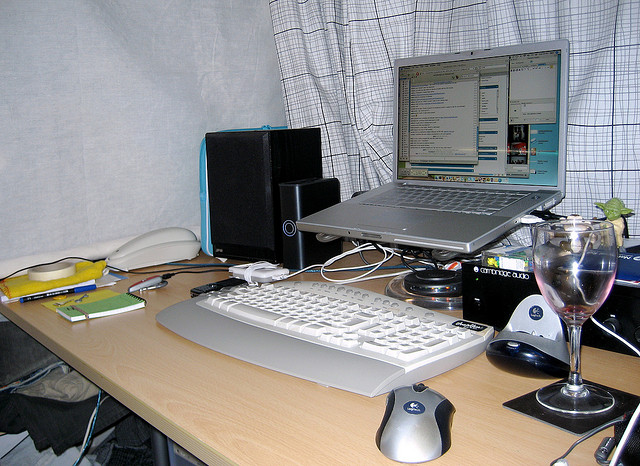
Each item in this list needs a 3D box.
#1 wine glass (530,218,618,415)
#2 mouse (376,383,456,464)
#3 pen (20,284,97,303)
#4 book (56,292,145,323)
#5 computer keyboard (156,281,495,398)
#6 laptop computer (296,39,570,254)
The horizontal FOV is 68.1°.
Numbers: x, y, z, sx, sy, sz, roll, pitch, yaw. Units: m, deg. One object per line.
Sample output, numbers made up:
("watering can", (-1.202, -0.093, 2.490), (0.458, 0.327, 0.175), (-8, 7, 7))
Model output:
("wine glass", (0.360, 0.103, 0.681), (0.109, 0.246, 0.215), (2, 16, 23))
("mouse", (0.118, 0.237, 0.592), (0.088, 0.060, 0.088), (1, 14, 18))
("pen", (-0.619, 0.142, 1.105), (0.197, 0.021, 0.021), (-6, 12, -20))
("book", (-0.465, 0.146, 1.006), (0.104, 0.014, 0.078), (-8, 15, -40))
("computer keyboard", (-0.031, 0.168, 0.920), (0.343, 0.061, 0.633), (-7, 8, -38))
("laptop computer", (0.251, -0.207, 1.070), (0.461, 0.411, 0.352), (9, 19, 41))
